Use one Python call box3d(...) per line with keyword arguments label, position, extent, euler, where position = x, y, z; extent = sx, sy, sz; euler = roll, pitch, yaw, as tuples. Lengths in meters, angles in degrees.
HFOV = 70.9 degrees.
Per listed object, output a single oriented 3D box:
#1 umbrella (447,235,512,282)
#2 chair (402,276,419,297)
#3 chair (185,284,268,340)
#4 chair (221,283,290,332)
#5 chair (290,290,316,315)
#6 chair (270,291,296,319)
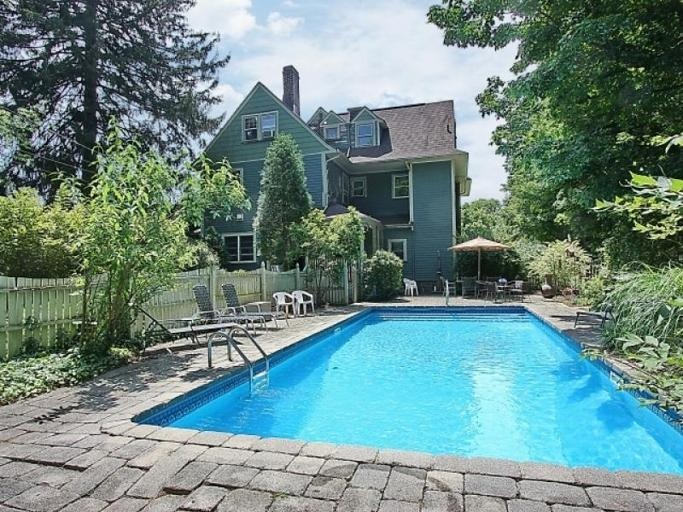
box3d(label="umbrella", position=(5.940, 0.095, 20.380), extent=(2.343, 1.571, 2.186), euler=(2, -5, -9))
box3d(label="chair", position=(3.275, 1.491, 22.813), extent=(0.754, 0.976, 0.836), euler=(-5, -5, 37))
box3d(label="chair", position=(-2.752, 1.259, 11.553), extent=(1.561, 0.883, 2.615), euler=(-2, -2, -4))
box3d(label="chair", position=(-2.292, 1.287, 12.367), extent=(1.567, 0.943, 1.102), euler=(2, 0, 0))
box3d(label="chair", position=(-1.256, 1.524, 15.834), extent=(0.951, 0.985, 0.768), euler=(3, -7, -36))
box3d(label="chair", position=(-1.762, 1.538, 15.165), extent=(0.868, 0.939, 0.787), euler=(4, -9, -38))
